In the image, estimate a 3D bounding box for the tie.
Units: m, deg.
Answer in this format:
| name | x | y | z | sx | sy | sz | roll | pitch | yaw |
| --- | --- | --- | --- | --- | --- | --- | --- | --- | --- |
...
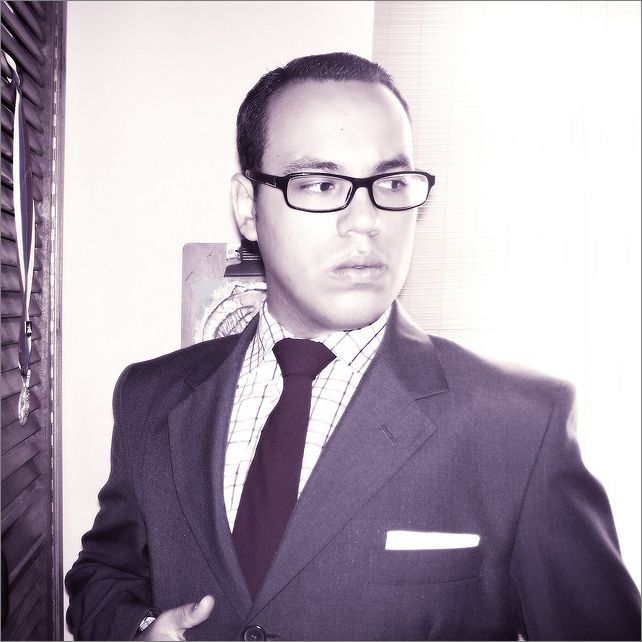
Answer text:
| name | x | y | z | sx | sy | sz | roll | pitch | yaw |
| --- | --- | --- | --- | --- | --- | --- | --- | --- | --- |
| tie | -0.073 | 0.225 | 1.265 | 0.105 | 0.465 | 0.054 | 8 | -33 | 5 |
